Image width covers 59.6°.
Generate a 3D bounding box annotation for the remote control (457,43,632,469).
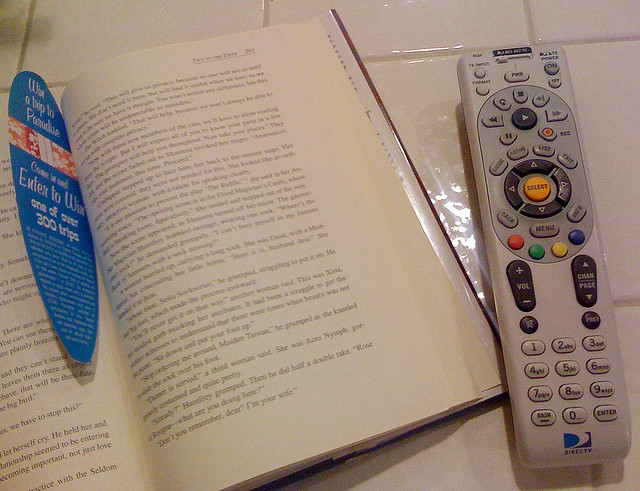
[{"bbox_3d":[0.172,-0.003,0.429,0.112,0.330,0.032,-13,-15,11],"label":"remote control"}]
